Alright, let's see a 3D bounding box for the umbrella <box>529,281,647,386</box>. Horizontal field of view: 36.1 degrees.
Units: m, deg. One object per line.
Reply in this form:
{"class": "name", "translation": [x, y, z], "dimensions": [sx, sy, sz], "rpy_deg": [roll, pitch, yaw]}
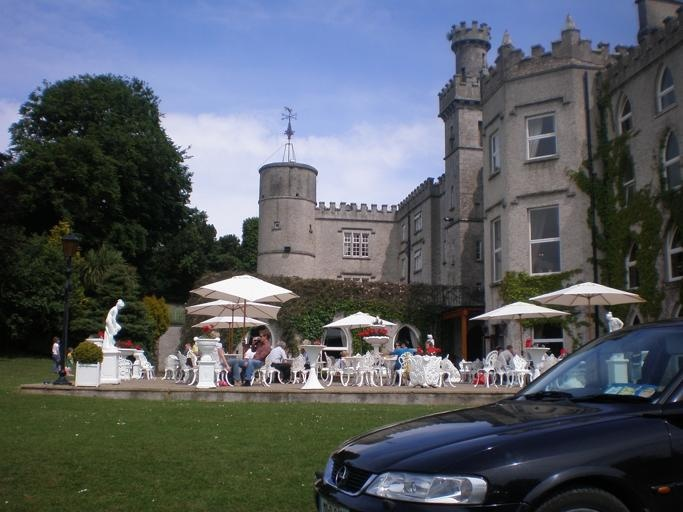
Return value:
{"class": "umbrella", "translation": [7.493, 2.226, 31.463], "dimensions": [1.950, 3.289, 2.270], "rpy_deg": [1, -7, -23]}

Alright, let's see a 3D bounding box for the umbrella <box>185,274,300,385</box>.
{"class": "umbrella", "translation": [-3.226, 2.454, 35.514], "dimensions": [2.793, 3.950, 3.598], "rpy_deg": [1, -9, -3]}

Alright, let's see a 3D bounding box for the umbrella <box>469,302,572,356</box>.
{"class": "umbrella", "translation": [6.485, 2.036, 37.307], "dimensions": [1.930, 2.165, 2.702], "rpy_deg": [2, -7, -38]}

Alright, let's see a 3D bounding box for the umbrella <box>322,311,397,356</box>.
{"class": "umbrella", "translation": [0.875, 3.234, 44.158], "dimensions": [2.305, 1.752, 2.507], "rpy_deg": [-2, -7, 13]}
